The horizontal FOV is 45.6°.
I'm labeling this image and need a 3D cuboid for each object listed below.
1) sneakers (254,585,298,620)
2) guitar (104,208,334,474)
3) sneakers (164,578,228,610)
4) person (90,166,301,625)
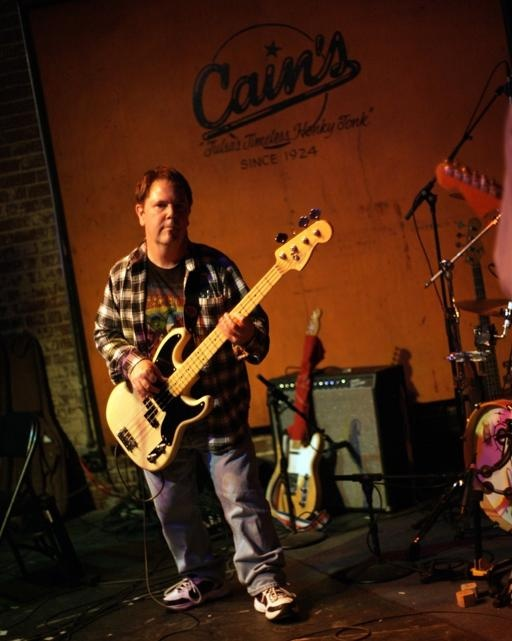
[{"bbox_3d":[0.079,1.067,2.301,0.097,0.088,0.201,7,-22,-27],"label":"sneakers"},{"bbox_3d":[-0.182,0.128,2.355,1.075,0.729,0.298,-12,-4,37],"label":"guitar"},{"bbox_3d":[-0.256,1.137,2.569,0.256,0.115,0.126,1,-3,-13],"label":"sneakers"},{"bbox_3d":[-0.239,0.327,2.397,0.920,1.792,0.638,-4,4,18],"label":"person"}]
